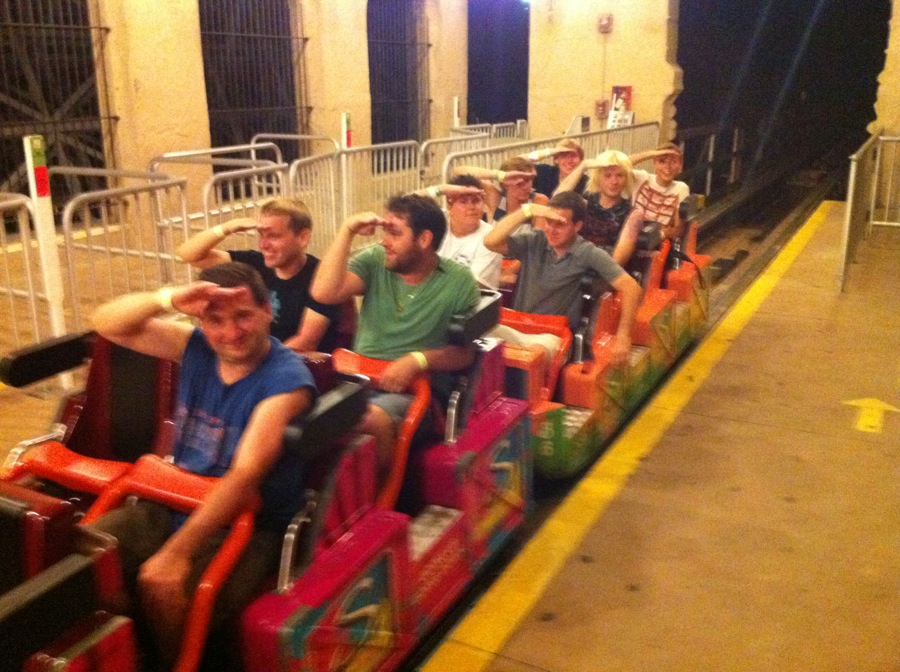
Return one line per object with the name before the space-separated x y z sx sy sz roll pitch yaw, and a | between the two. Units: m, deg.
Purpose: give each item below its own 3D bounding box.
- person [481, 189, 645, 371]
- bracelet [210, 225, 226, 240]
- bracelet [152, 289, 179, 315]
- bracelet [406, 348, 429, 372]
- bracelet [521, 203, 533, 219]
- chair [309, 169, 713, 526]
person | 0.691 -0.205 4.711 0.990 1.370 0.665 4 30 7
bracelet | -1.157 -0.516 3.590 0.087 0.064 0.087 2 3 -3
bracelet | -1.057 -0.130 2.689 0.094 0.090 0.094 1 7 -4
bracelet | -0.149 0.111 3.270 0.083 0.060 0.084 6 9 19
bracelet | 0.475 -0.785 4.447 0.066 0.101 0.108 -1 -4 -10
chair | 0.921 -0.145 5.367 1.831 1.178 2.441 11 23 31
